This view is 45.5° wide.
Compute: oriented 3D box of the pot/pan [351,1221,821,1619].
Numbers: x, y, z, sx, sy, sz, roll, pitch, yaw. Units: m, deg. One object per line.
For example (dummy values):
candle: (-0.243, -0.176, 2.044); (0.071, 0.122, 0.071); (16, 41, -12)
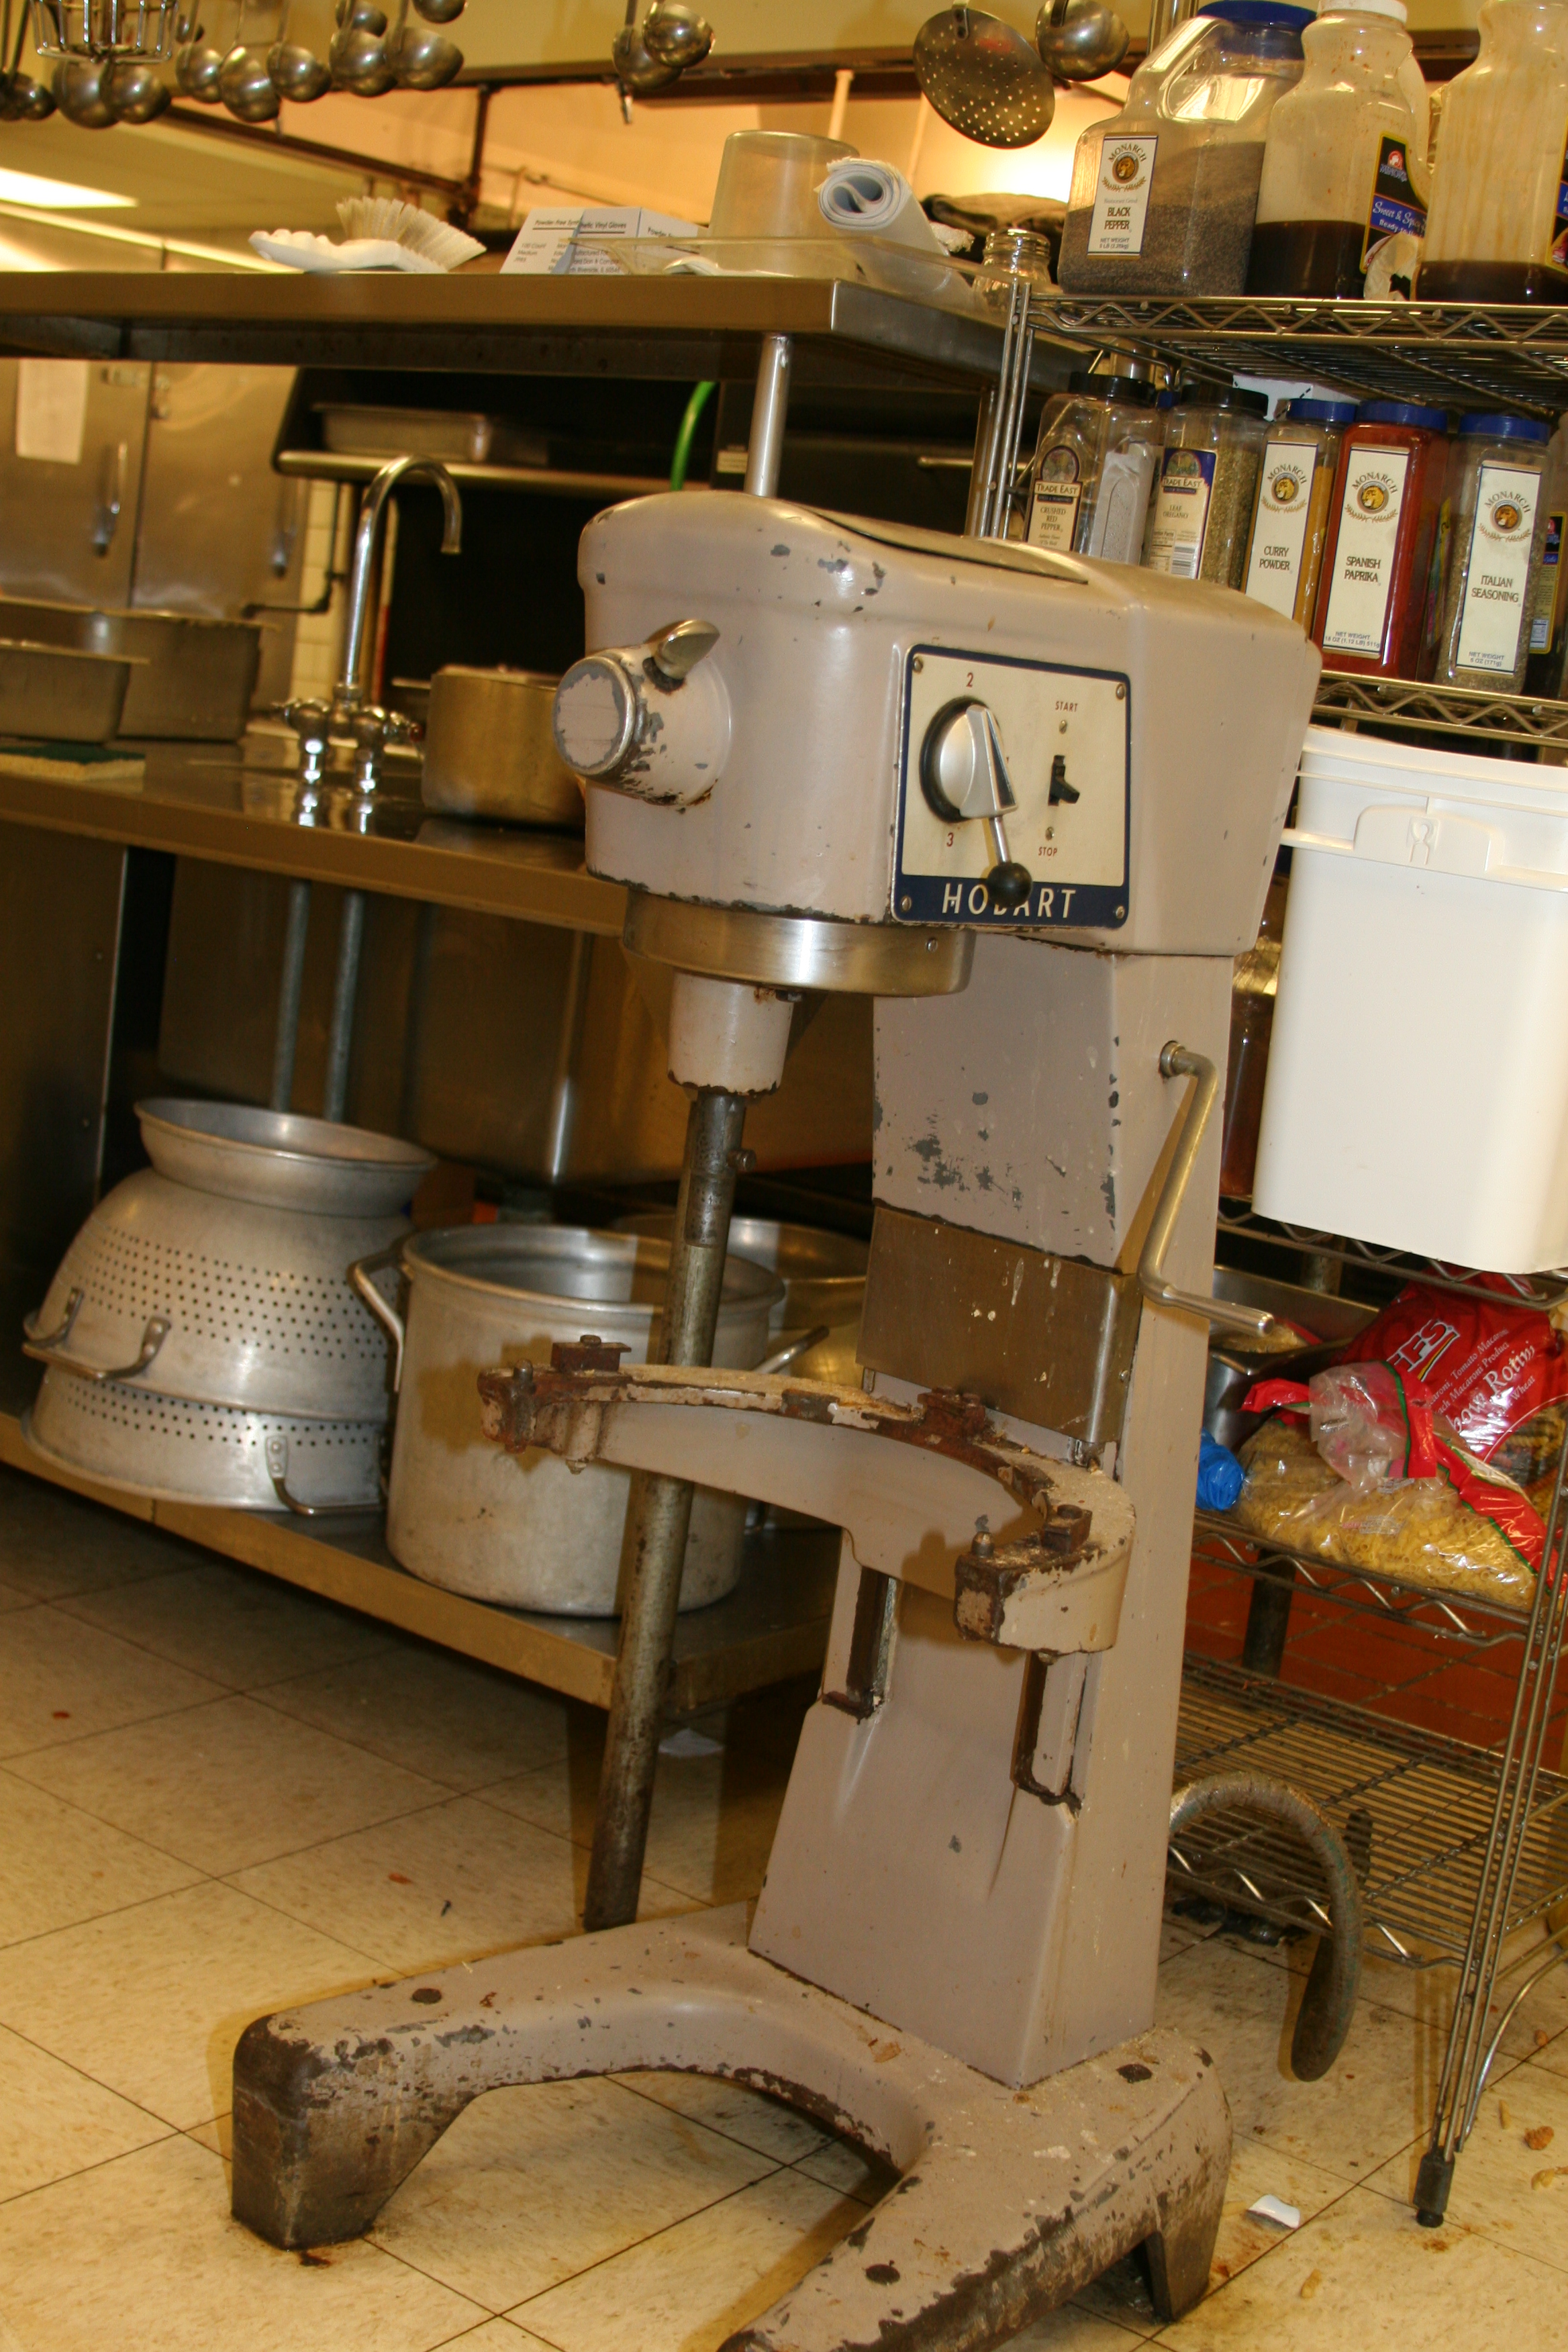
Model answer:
pot/pan: (-0.206, 0.236, 1.743); (0.354, 0.270, 0.390); (12, 14, 21)

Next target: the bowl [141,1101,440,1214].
bowl: (-0.486, -0.002, 1.802); (0.179, 0.041, 0.175); (11, 12, -2)

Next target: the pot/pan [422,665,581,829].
pot/pan: (-0.326, -0.493, 2.109); (0.185, 0.162, 0.182); (-6, 25, -35)

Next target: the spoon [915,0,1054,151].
spoon: (0.183, -1.001, 1.694); (0.115, 0.097, 0.238); (8, 2, 6)

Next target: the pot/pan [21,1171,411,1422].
pot/pan: (-0.541, 0.116, 1.787); (0.270, 0.127, 0.266); (11, 6, -36)
